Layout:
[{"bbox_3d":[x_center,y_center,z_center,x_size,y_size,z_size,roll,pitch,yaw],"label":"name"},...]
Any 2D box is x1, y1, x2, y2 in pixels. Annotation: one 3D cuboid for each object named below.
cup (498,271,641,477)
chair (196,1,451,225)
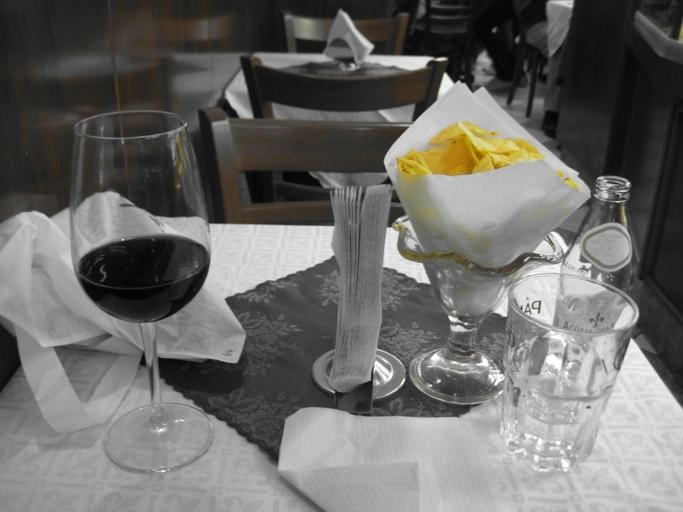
[{"bbox_3d":[0.202,0.119,0.579,0.136,0.203,0.121,16,22,10],"label":"cup"},{"bbox_3d":[-0.008,-0.241,1.276,0.467,0.648,0.473,-1,25,1],"label":"chair"}]
